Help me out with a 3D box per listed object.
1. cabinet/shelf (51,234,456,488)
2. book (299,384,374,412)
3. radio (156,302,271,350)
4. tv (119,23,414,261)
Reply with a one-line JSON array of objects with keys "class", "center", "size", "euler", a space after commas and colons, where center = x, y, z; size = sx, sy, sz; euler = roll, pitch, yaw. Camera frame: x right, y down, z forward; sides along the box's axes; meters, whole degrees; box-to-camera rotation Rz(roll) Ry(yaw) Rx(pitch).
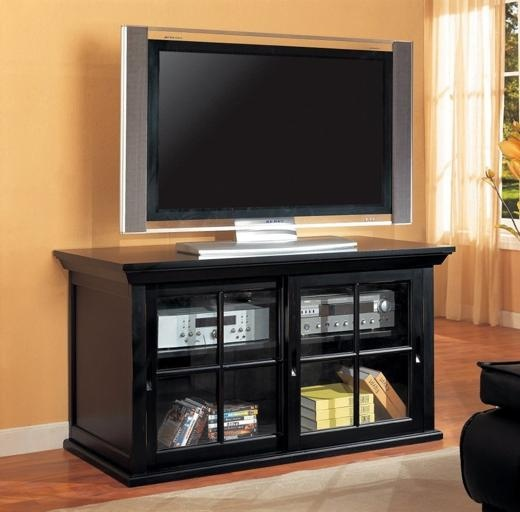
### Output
[{"class": "cabinet/shelf", "center": [0.078, 0.387, 2.366], "size": [1.254, 0.787, 0.524], "euler": [-2, 7, -15]}, {"class": "book", "center": [0.278, 0.559, 2.262], "size": [0.143, 0.035, 0.139], "euler": [-1, 1, -26]}, {"class": "radio", "center": [-0.158, 0.254, 2.072], "size": [0.436, 0.153, 0.033], "euler": [-2, 3, -28]}, {"class": "tv", "center": [0.001, -0.471, 2.328], "size": [0.999, 0.652, 0.037], "euler": [-2, 7, -22]}]
